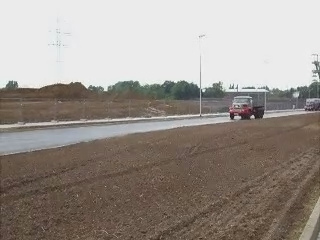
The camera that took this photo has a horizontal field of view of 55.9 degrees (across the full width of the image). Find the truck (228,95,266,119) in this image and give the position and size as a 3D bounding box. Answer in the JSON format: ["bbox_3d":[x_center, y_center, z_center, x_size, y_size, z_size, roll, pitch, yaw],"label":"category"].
[{"bbox_3d":[13.957,-2.132,48.694,2.989,3.446,6.523,-1,-1,30],"label":"truck"}]
